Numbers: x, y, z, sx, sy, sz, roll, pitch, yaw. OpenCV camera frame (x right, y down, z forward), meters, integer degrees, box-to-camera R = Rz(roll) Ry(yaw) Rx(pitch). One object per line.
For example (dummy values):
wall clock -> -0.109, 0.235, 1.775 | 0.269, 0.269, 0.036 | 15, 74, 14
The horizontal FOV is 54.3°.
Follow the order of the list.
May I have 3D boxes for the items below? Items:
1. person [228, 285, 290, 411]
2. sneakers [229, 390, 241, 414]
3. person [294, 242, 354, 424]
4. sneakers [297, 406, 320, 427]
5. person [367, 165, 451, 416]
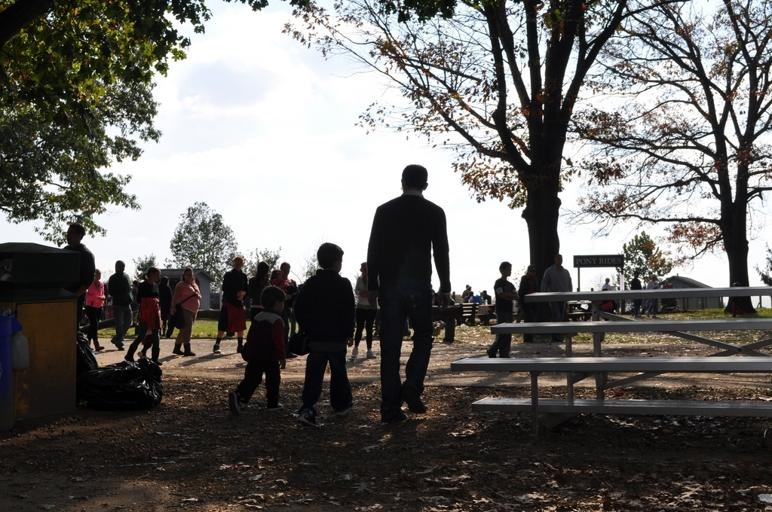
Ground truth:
person -> -1.691, 1.260, 10.072 | 0.734, 1.668, 0.893 | -2, 6, -9
sneakers -> -1.933, 1.893, 9.705 | 0.119, 0.328, 0.140 | -6, -12, 6
person -> -0.770, 0.954, 9.480 | 0.967, 2.203, 0.656 | -7, 8, -41
sneakers -> -0.933, 1.942, 9.190 | 0.268, 0.232, 0.406 | -2, 5, -5
person -> 0.279, 0.447, 9.179 | 0.977, 3.093, 0.656 | -2, 6, -5
